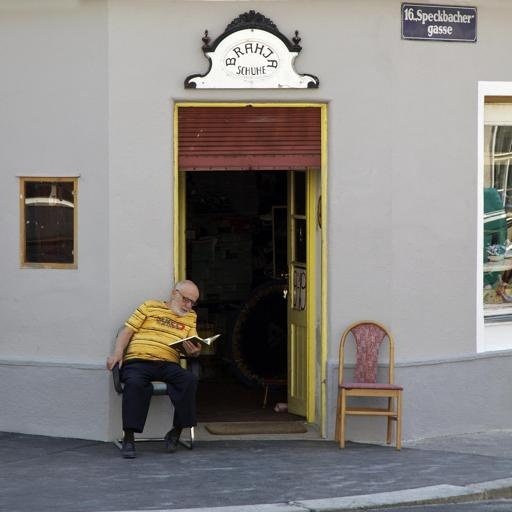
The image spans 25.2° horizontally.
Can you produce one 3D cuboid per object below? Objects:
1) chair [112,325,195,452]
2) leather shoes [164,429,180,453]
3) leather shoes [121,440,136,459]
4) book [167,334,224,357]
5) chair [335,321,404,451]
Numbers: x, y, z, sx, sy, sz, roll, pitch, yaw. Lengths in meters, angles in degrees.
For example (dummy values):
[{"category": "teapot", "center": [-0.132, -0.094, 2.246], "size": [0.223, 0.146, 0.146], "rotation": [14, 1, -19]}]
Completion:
[{"category": "chair", "center": [-0.876, 1.262, 9.680], "size": [0.717, 0.756, 0.659], "rotation": [0, 6, -5]}, {"category": "leather shoes", "center": [-0.693, 1.520, 9.513], "size": [0.128, 0.202, 0.237], "rotation": [0, 6, -5]}, {"category": "leather shoes", "center": [-1.034, 1.556, 9.245], "size": [0.117, 0.118, 0.178], "rotation": [0, 7, -7]}, {"category": "book", "center": [-0.528, 0.759, 9.632], "size": [0.375, 0.232, 0.451], "rotation": [1, 6, 2]}, {"category": "chair", "center": [0.978, 1.107, 9.847], "size": [0.581, 1.055, 0.580], "rotation": [2, 6, 7]}]
